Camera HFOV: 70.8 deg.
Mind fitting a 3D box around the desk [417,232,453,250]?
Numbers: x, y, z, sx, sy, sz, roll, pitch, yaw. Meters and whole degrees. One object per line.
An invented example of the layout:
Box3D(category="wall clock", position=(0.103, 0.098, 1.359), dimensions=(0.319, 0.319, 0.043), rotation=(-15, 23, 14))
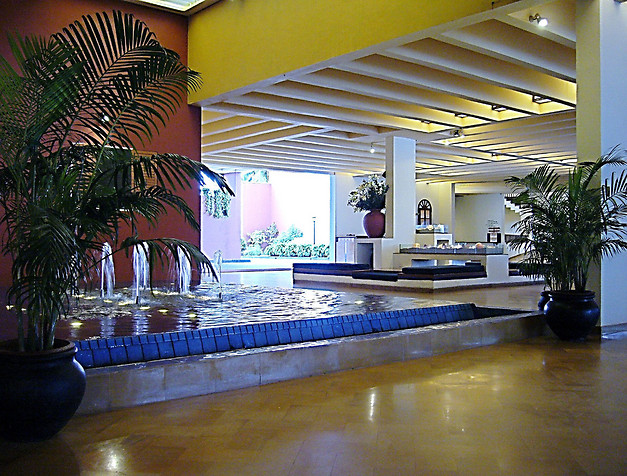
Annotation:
Box3D(category="desk", position=(3.793, 0.026, 13.885), dimensions=(0.952, 0.603, 0.933), rotation=(0, -1, -40))

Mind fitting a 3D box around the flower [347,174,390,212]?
Box3D(category="flower", position=(1.680, -1.122, 11.825), dimensions=(1.034, 1.085, 1.082), rotation=(-1, 2, 41))

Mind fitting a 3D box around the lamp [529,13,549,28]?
Box3D(category="lamp", position=(2.789, -2.708, 5.452), dimensions=(0.139, 0.116, 0.335), rotation=(-28, 48, -33))

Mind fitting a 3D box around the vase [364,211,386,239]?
Box3D(category="vase", position=(1.556, -0.374, 11.284), dimensions=(0.547, 0.706, 0.469), rotation=(3, 2, 5))

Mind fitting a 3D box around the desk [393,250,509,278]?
Box3D(category="desk", position=(3.271, 0.584, 10.314), dimensions=(2.437, 0.592, 0.864), rotation=(4, 2, 22))
